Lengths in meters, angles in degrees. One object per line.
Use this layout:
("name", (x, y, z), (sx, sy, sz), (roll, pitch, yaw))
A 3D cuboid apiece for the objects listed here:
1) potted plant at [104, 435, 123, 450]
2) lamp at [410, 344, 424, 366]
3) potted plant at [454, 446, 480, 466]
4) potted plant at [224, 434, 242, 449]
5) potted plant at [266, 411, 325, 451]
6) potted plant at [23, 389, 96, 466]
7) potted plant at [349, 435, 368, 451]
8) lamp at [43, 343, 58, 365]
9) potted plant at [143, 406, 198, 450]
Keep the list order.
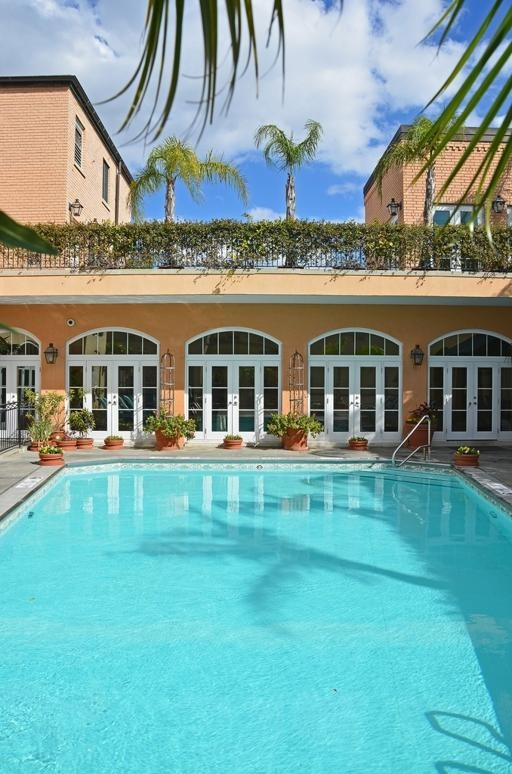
("potted plant", (-2.664, 1.052, 13.496), (0.235, 0.205, 0.271), (1, -2, 3))
("lamp", (3.199, -0.613, 14.156), (0.254, 0.437, 0.327), (0, 2, 12))
("potted plant", (3.256, 1.093, 11.006), (0.356, 0.271, 0.380), (0, 2, 14))
("potted plant", (-0.417, 1.046, 13.532), (0.229, 0.203, 0.260), (0, -3, 4))
("potted plant", (0.748, 0.847, 13.466), (0.964, 0.647, 0.741), (0, 2, 12))
("potted plant", (-3.768, 0.754, 13.199), (1.189, 1.016, 1.103), (2, 0, 3))
("potted plant", (1.924, 1.083, 13.406), (0.353, 0.222, 0.361), (0, 2, 6))
("lamp", (-3.989, -0.640, 13.936), (0.273, 0.417, 0.312), (-1, 2, -9))
("potted plant", (-1.578, 0.815, 13.162), (0.901, 0.716, 0.574), (-1, 2, -8))
